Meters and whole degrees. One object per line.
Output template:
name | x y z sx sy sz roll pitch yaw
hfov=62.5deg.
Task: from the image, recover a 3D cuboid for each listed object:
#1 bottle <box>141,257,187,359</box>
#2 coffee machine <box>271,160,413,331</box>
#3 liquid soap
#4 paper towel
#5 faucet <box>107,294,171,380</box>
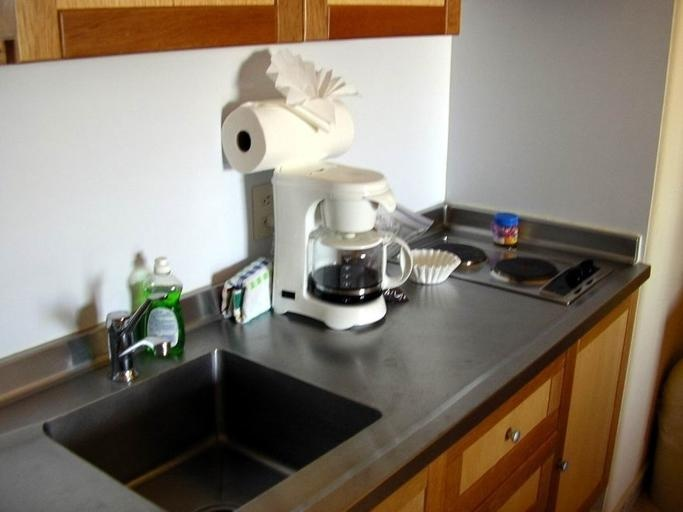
bottle | -0.423 0.121 1.329 0.091 0.237 0.068 -3 4 -26
coffee machine | -0.013 -0.029 1.469 0.341 0.406 0.162 9 20 28
liquid soap | -0.420 0.117 1.324 0.088 0.234 0.062 -2 12 -17
paper towel | -0.119 -0.322 1.463 0.362 0.161 0.147 -15 22 -35
faucet | -0.442 0.189 1.256 0.095 0.220 0.117 3 13 13
